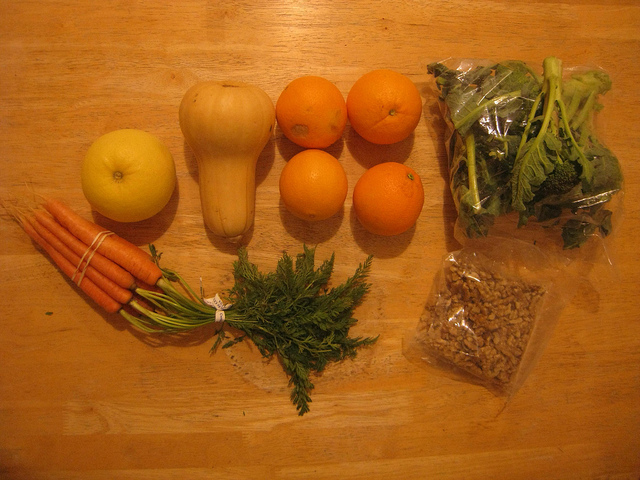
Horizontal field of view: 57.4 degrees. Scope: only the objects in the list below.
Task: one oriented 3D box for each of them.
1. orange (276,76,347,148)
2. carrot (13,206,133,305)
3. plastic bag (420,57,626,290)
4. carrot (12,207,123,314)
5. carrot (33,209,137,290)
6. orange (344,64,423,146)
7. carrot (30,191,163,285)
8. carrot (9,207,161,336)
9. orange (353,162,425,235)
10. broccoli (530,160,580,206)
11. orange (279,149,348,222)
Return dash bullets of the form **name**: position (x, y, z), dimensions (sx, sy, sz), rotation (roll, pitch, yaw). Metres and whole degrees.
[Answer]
- **orange**: position (-0.012, -0.373, 1.839), dimensions (0.226, 0.204, 0.195), rotation (4, 61, 1)
- **carrot**: position (-0.778, 0.049, 1.826), dimensions (0.408, 0.062, 0.062), rotation (41, -2, 5)
- **plastic bag**: position (0.654, -0.206, 1.888), dimensions (0.773, 0.664, 0.374), rotation (8, 33, 8)
- **carrot**: position (-0.798, 0.059, 1.831), dimensions (0.446, 0.064, 0.067), rotation (40, 20, 5)
- **carrot**: position (-0.736, 0.033, 1.817), dimensions (0.350, 0.050, 0.061), rotation (38, 5, 6)
- **orange**: position (0.202, -0.422, 1.875), dimensions (0.277, 0.241, 0.252), rotation (0, 1, -12)
- **carrot**: position (-0.708, -0.005, 1.814), dimensions (0.406, 0.068, 0.070), rotation (34, 37, 5)
- **carrot**: position (-0.752, 0.099, 1.834), dimensions (0.643, 0.067, 0.070), rotation (33, -11, 16)
- **orange**: position (0.214, -0.131, 1.860), dimensions (0.241, 0.250, 0.231), rotation (6, 11, 12)
- **broccoli**: position (0.710, -0.183, 1.754), dimensions (0.073, 0.063, 0.117), rotation (10, 26, -8)
- **orange**: position (-0.020, -0.177, 1.837), dimensions (0.231, 0.237, 0.213), rotation (-5, 27, -15)
